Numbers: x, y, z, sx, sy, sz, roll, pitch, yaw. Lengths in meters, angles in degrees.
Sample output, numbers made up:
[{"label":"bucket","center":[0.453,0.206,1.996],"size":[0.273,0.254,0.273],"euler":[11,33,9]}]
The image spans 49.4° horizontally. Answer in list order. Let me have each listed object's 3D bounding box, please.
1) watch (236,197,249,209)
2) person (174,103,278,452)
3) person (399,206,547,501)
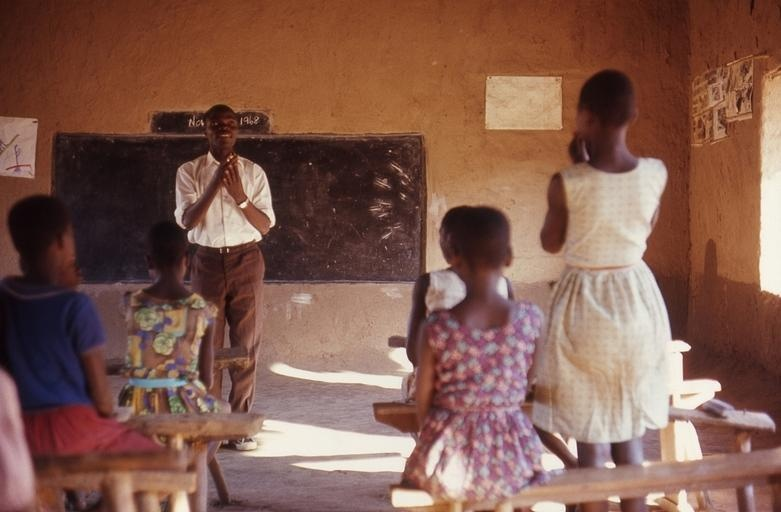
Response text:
[{"label":"watch","center":[-0.991,-0.365,5.805],"size":[0.057,0.071,0.027],"euler":[14,2,-30]},{"label":"person","center":[-1.161,0.131,6.006],"size":[0.761,2.304,0.685],"euler":[-2,7,-30]},{"label":"person","center":[0.406,0.462,4.096],"size":[0.692,1.365,0.373],"euler":[-1,10,0]}]
